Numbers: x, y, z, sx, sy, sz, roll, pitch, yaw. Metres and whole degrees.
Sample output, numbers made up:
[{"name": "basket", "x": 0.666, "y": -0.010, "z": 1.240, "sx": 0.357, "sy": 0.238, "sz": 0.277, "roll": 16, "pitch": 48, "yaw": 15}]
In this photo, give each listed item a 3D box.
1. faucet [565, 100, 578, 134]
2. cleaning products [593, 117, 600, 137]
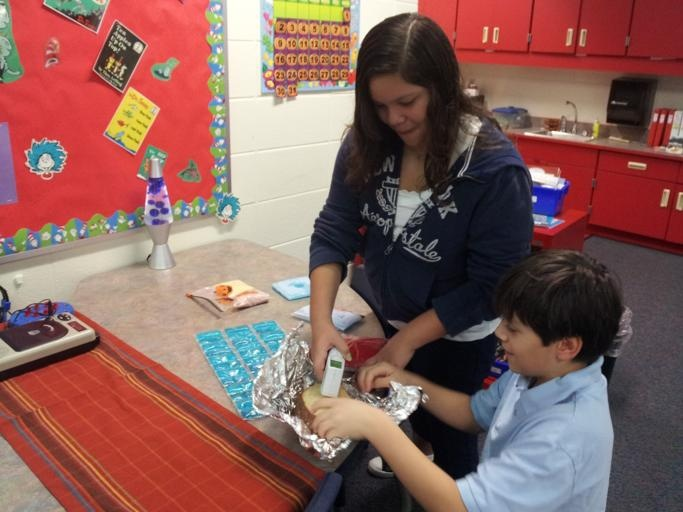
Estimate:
[{"name": "faucet", "x": 2.411, "y": -1.458, "z": 5.002, "sx": 0.084, "sy": 0.321, "sz": 0.183, "roll": -6, "pitch": 21, "yaw": -10}, {"name": "cleaning products", "x": 2.549, "y": -1.274, "z": 4.803, "sx": 0.068, "sy": 0.155, "sz": 0.221, "roll": 8, "pitch": 23, "yaw": 27}]
